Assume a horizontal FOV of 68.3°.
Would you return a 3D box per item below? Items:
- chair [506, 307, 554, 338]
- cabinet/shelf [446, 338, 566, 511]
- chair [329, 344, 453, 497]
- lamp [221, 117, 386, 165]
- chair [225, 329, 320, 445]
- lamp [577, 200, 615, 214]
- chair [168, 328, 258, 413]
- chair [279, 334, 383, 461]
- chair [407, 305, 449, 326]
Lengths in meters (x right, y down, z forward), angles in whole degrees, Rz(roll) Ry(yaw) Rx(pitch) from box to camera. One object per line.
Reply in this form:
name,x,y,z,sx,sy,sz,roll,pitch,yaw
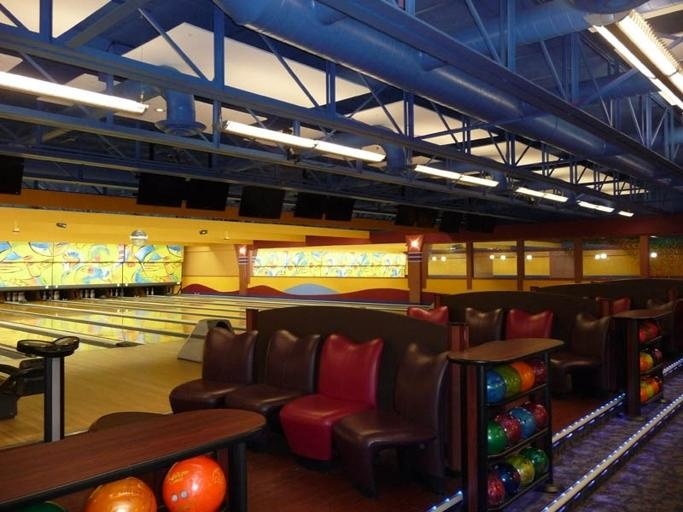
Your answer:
chair,2.142,0.773,5.932,0.446,0.432,0.453,-2,-6,32
cabinet/shelf,1.153,1.138,3.582,0.587,1.024,1.215,-1,-2,37
chair,0.327,1.137,3.603,0.856,0.728,0.657,-9,1,-21
lamp,-0.585,-1.384,5.996,2.105,0.280,0.829,2,-2,-41
chair,-0.600,1.092,4.302,0.670,0.606,0.765,1,9,32
lamp,5.828,-1.130,11.516,1.637,0.203,0.114,2,10,-42
chair,-1.172,1.107,4.590,0.629,0.614,0.746,2,13,35
chair,-0.105,1.099,3.966,0.845,0.634,0.643,-12,10,-42
chair,0.972,0.656,5.607,0.497,0.135,0.228,1,6,6
